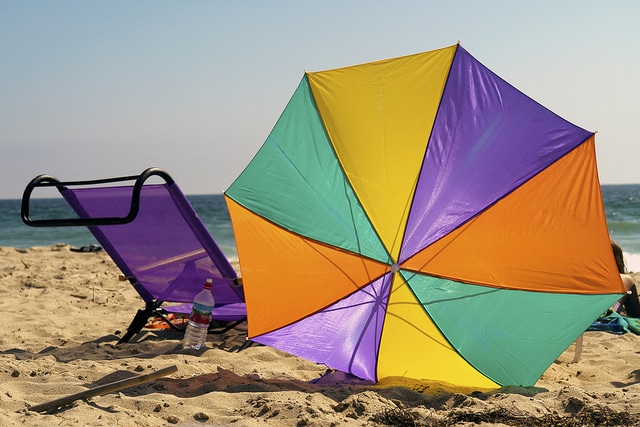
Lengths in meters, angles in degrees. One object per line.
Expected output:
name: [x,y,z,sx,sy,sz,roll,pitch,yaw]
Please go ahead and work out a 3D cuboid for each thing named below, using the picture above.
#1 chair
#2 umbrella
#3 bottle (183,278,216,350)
chair: [-1.640,0.574,9.490,1.657,1.945,3.025,-1,0,21]
umbrella: [1.309,0.448,10.181,3.445,3.681,2.294,-23,-17,1]
bottle: [-1.264,1.051,8.987,0.334,0.793,0.136,5,12,23]
